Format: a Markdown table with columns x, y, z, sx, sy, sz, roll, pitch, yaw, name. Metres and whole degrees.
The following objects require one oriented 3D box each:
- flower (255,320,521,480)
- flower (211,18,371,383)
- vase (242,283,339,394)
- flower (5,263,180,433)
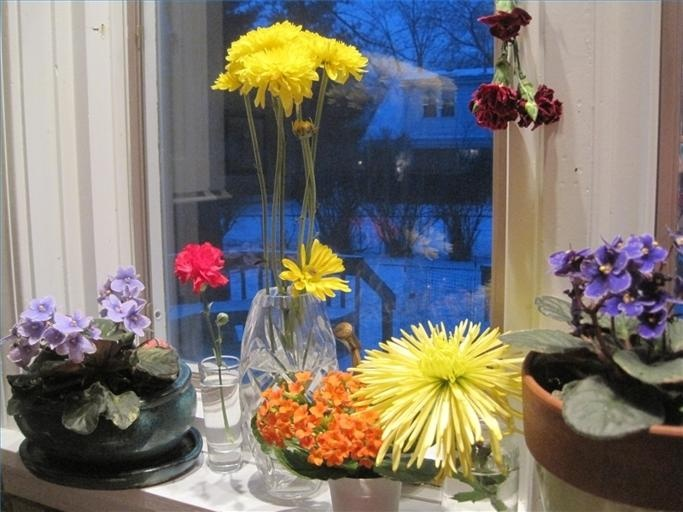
| x | y | z | sx | sy | sz | roll | pitch | yaw | name |
| --- | --- | --- | --- | --- | --- | --- | --- | --- | --- |
| 0.092 | 0.230 | 1.342 | 0.337 | 0.244 | 0.363 | -6 | -2 | 6 | flower |
| -0.085 | -0.147 | 1.473 | 0.305 | 0.760 | 0.421 | -4 | 5 | 2 | flower |
| -0.118 | 0.181 | 1.508 | 0.178 | 0.200 | 0.199 | -1 | -1 | -28 | vase |
| -0.502 | 0.197 | 1.408 | 0.300 | 0.226 | 0.321 | -16 | 46 | -27 | flower |
